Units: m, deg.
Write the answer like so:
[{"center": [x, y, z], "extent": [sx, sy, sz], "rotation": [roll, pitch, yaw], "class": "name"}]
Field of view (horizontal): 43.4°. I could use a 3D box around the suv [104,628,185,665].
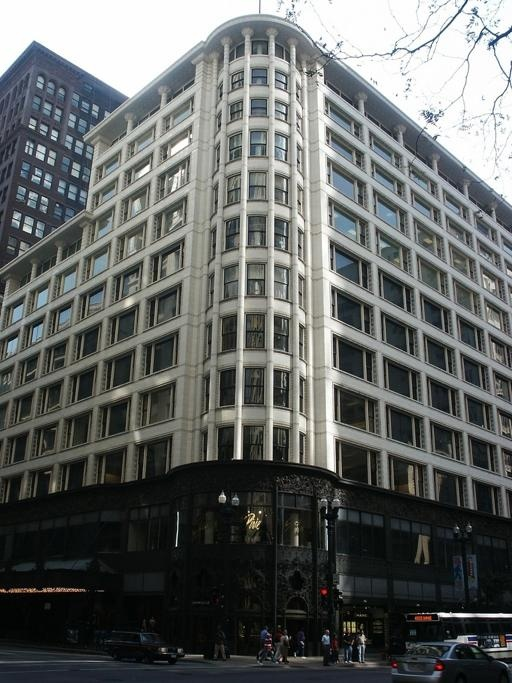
[{"center": [-4.595, 12.510, 26.348], "extent": [3.110, 1.070, 1.465], "rotation": [-21, -36, 38], "class": "suv"}]
